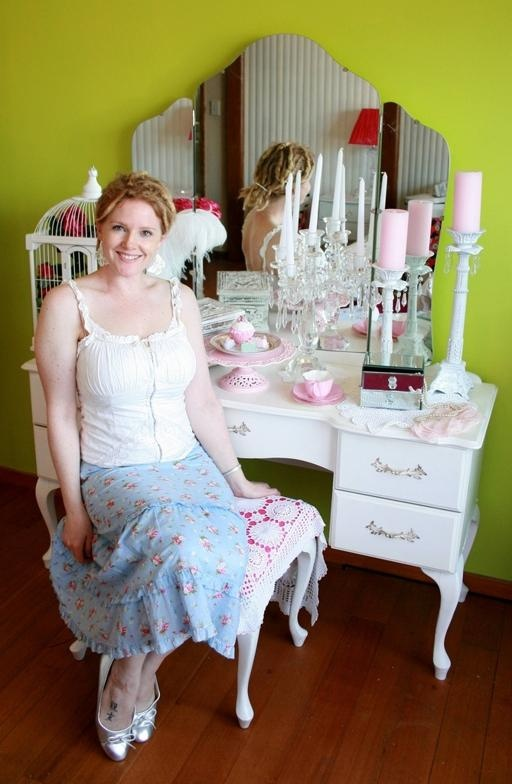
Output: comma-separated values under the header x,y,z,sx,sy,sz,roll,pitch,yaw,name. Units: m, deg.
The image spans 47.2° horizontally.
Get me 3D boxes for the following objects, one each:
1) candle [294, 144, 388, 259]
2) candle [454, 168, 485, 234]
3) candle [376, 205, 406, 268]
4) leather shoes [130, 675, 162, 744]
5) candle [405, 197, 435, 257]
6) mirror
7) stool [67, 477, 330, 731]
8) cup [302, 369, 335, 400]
x,y,z,sx,sy,sz,roll,pitch,yaw,name
0.239,-0.520,1.627,0.251,0.269,0.038,7,14,30,candle
0.505,-0.449,1.408,0.073,0.181,0.074,10,63,25,candle
0.316,-0.352,1.365,0.059,0.139,0.080,2,12,11,candle
-0.255,0.734,1.351,0.055,0.047,0.164,-2,17,-5,leather shoes
0.419,-0.422,1.518,0.058,0.144,0.055,3,12,13,candle
0.128,-0.531,1.612,1.004,0.867,0.014,18,38,24,mirror
-0.132,0.383,1.635,0.465,0.619,0.633,18,38,24,stool
0.155,-0.024,1.476,0.057,0.048,0.085,4,25,12,cup
